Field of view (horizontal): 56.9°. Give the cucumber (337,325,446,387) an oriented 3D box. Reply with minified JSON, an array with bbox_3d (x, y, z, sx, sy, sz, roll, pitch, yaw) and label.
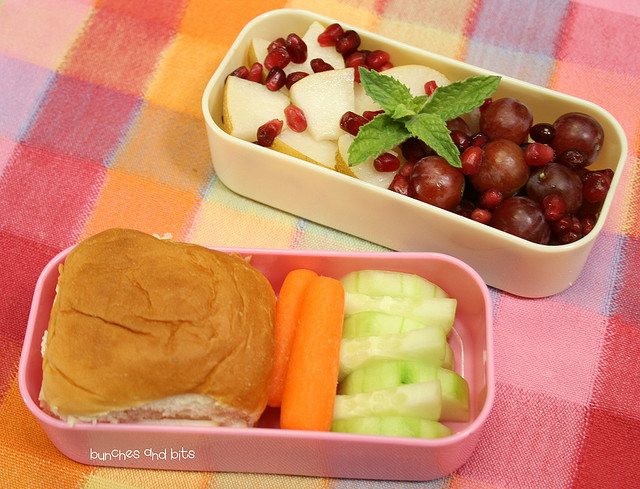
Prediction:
[{"bbox_3d":[0.213,0.303,1.725,0.411,0.131,0.150,-8,26,4],"label":"cucumber"}]

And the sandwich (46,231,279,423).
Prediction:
[{"bbox_3d":[-0.440,0.230,1.666,0.609,0.219,0.522,1,76,0],"label":"sandwich"}]

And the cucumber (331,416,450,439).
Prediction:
[{"bbox_3d":[0.197,0.492,1.611,0.329,0.138,0.051,3,75,0],"label":"cucumber"}]

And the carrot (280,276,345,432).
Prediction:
[{"bbox_3d":[-0.010,0.304,1.684,0.143,0.085,0.441,9,76,2],"label":"carrot"}]

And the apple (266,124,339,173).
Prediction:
[{"bbox_3d":[-0.061,-0.329,2.052,0.204,0.065,0.193,-5,57,-24],"label":"apple"}]

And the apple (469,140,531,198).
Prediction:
[{"bbox_3d":[0.606,-0.243,1.947,0.184,0.094,0.173,23,77,5],"label":"apple"}]

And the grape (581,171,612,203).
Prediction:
[{"bbox_3d":[0.902,-0.189,1.929,0.080,0.035,0.105,6,78,21],"label":"grape"}]

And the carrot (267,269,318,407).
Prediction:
[{"bbox_3d":[-0.078,0.275,1.823,0.109,0.114,0.420,7,70,5],"label":"carrot"}]
